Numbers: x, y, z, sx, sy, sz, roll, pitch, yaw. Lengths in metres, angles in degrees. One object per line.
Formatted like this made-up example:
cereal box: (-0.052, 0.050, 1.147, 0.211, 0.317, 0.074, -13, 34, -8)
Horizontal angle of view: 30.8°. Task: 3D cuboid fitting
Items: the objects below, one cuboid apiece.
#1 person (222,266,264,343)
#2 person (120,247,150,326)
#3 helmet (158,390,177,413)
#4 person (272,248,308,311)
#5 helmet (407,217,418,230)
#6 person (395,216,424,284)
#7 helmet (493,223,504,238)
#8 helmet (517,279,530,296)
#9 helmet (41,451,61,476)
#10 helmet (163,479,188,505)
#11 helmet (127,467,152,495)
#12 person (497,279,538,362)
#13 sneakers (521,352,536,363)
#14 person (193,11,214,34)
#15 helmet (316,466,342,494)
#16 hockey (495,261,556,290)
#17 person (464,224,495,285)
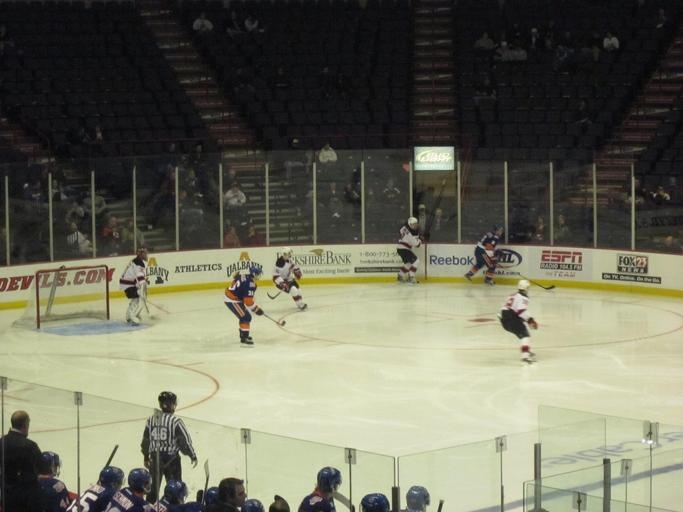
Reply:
person: (-2.180, 1.163, 27.512, 0.971, 1.833, 0.947, -5, 28, -16)
person: (-4.747, 0.736, 28.383, 0.587, 1.683, 0.501, -3, 13, -10)
helmet: (-2.826, 2.374, 19.913, 0.292, 0.348, 0.366, 2, 3, -36)
person: (-1.242, 0.580, 29.753, 0.793, 1.427, 0.746, -1, 12, -2)
helmet: (1.862, -0.839, 32.568, 0.265, 0.366, 0.419, 0, 12, 2)
person: (1.793, -0.161, 32.859, 0.628, 1.807, 0.746, 0, 12, 4)
helmet: (4.060, -0.664, 32.172, 0.258, 0.256, 0.251, -26, 40, -27)
helmet: (3.744, 0.652, 25.463, 0.330, 0.321, 0.246, -2, 5, -3)
helmet: (-4.431, 3.203, 18.928, 0.352, 0.345, 0.269, 2, 3, 22)
helmet: (-2.425, 3.506, 18.358, 0.277, 0.306, 0.347, 6, 15, 10)
helmet: (-2.985, 3.366, 18.332, 0.284, 0.325, 0.354, 4, 9, 5)
person: (3.587, 1.311, 25.296, 0.705, 1.572, 1.086, 1, 12, 5)
sneakers: (3.728, 2.063, 25.014, 0.129, 0.232, 0.343, -2, 15, -31)
person: (-4.358, -7.257, 39.040, 0.882, 0.854, 0.559, 0, 1, -14)
helmet: (-0.175, 3.298, 18.215, 0.287, 0.330, 0.377, 13, 19, 42)
hockey: (4.792, 0.513, 31.963, 1.553, 0.177, 0.227, 22, 40, 32)
person: (3.754, 0.019, 32.458, 0.601, 1.544, 0.920, -8, 14, -29)
